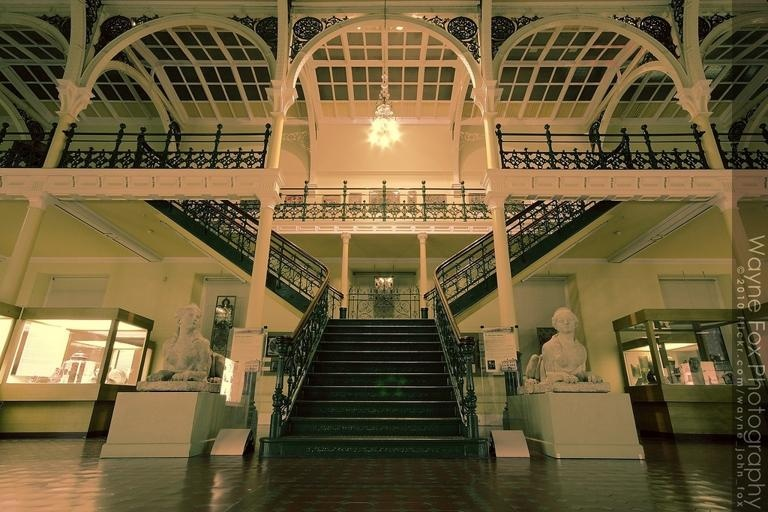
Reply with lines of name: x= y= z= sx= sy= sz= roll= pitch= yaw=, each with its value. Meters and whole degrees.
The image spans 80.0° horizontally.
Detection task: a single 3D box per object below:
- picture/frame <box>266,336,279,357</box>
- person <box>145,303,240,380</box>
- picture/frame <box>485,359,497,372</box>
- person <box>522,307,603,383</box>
picture/frame: x=-2.545 y=2.051 z=10.430 sx=0.217 sy=0.508 sz=0.655 roll=1 pitch=0 yaw=-7
person: x=-3.565 y=1.587 z=8.366 sx=1.212 sy=1.052 sz=0.598 roll=1 pitch=0 yaw=-18
picture/frame: x=2.337 y=2.352 z=9.825 sx=0.282 sy=0.232 sz=0.062 roll=-3 pitch=-11 yaw=12
person: x=3.337 y=1.765 z=8.592 sx=1.259 sy=1.524 sz=0.701 roll=1 pitch=-1 yaw=16
